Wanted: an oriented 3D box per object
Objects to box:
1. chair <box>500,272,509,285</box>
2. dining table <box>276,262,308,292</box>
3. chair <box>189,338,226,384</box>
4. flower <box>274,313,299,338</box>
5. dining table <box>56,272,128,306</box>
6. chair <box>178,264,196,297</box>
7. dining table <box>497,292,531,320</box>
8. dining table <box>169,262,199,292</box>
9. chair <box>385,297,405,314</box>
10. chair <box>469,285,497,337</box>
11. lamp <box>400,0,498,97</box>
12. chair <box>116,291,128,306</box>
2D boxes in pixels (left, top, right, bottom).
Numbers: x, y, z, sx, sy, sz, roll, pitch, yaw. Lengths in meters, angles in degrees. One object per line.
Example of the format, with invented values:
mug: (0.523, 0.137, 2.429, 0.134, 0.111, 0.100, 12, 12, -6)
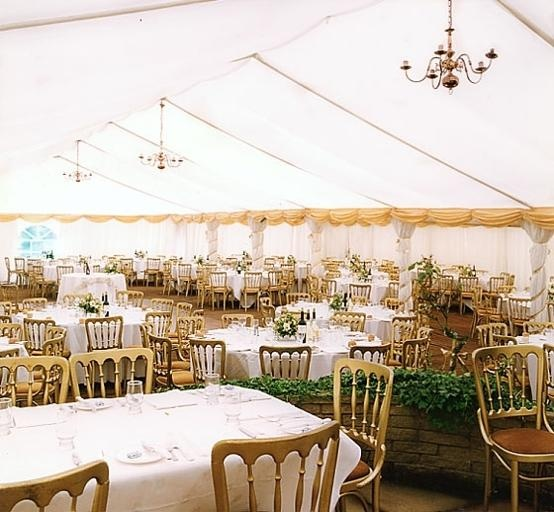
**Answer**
chair: (5.625, 0.578, 13.145, 0.214, 0.290, 0.217, 5, 12, 24)
dining table: (0.475, 0.611, 14.659, 0.775, 1.334, 0.894, 0, -2, -2)
chair: (-0.660, 1.003, 5.005, 0.347, 0.323, 0.559, 1, -2, -7)
flower: (0.082, 0.726, 5.554, 0.231, 0.240, 0.225, -3, 6, -41)
dining table: (-4.351, 0.693, 12.395, 1.376, 0.749, 1.376, 2, -3, -14)
chair: (-2.579, 0.682, 15.070, 0.448, 0.665, 1.505, 1, -2, -10)
dining table: (4.115, 0.904, 9.240, 0.327, 0.495, 0.335, 5, 25, 23)
dining table: (-2.659, 0.616, 14.954, 0.687, 0.957, 0.650, 4, 7, 10)
chair: (1.976, 0.840, 9.034, 0.360, 0.203, 0.557, 1, -4, 1)
chair: (3.545, 0.972, 9.193, 0.565, 0.877, 0.723, 0, 7, 7)
lamp: (1.687, -1.831, 5.136, 0.794, 1.074, 0.820, 0, 0, 5)
chair: (-2.544, 0.706, 8.711, 0.206, 0.284, 0.103, 1, -3, -10)
